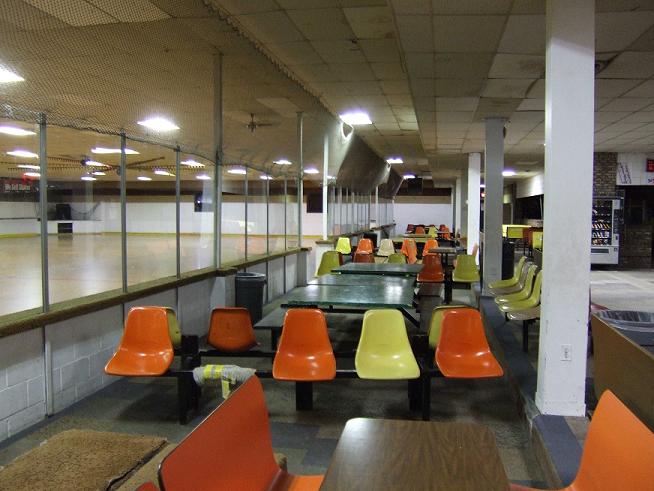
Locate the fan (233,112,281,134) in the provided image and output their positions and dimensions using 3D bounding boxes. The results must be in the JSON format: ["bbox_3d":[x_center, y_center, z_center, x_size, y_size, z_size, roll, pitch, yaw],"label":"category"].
[{"bbox_3d":[-1.393,-2.374,9.612,0.601,0.259,0.588,0,-3,-3],"label":"fan"}]

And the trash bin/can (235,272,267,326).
[{"bbox_3d":[-1.172,0.768,7.374,0.660,0.874,0.701,-1,0,-5],"label":"trash bin/can"}]
